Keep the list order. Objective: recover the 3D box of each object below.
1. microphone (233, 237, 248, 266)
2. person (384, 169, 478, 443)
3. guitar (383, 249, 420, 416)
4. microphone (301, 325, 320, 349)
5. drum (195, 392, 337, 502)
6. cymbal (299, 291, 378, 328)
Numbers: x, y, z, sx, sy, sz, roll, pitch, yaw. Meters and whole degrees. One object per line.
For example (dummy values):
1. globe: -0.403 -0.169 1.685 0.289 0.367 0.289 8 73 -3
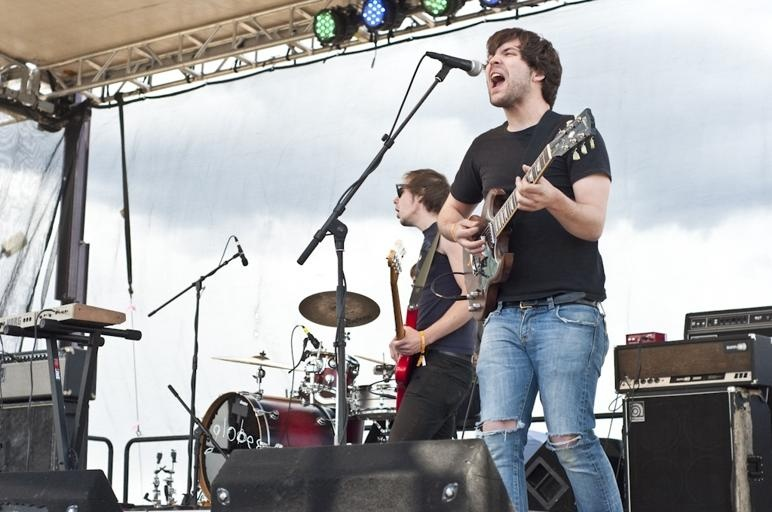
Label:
1. microphone: -1.436 -0.045 14.037 0.076 0.267 0.269 -28 -30 -12
2. person: 0.396 0.365 11.057 0.638 2.049 0.686 1 1 33
3. guitar: 0.116 0.532 11.092 0.282 1.167 0.261 1 2 2
4. microphone: -0.737 0.787 13.751 0.077 0.294 0.068 -38 7 36
5. drum: -1.138 1.814 13.407 0.890 1.058 1.052 12 -10 -39
6. cymbal: -0.428 0.493 12.938 0.631 0.292 0.663 10 -13 -40
